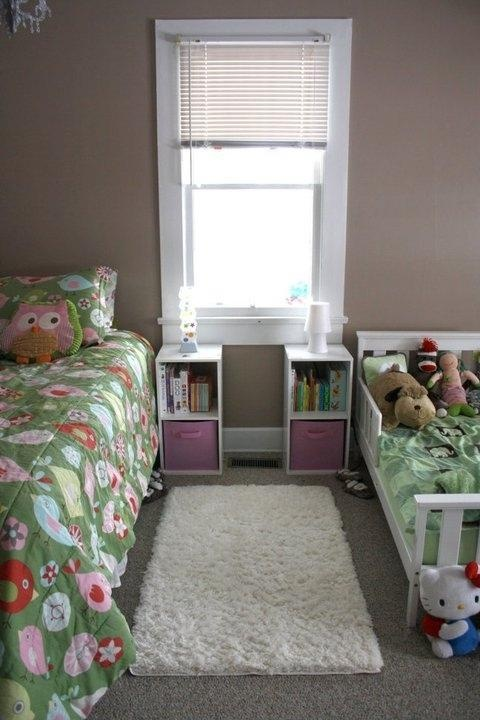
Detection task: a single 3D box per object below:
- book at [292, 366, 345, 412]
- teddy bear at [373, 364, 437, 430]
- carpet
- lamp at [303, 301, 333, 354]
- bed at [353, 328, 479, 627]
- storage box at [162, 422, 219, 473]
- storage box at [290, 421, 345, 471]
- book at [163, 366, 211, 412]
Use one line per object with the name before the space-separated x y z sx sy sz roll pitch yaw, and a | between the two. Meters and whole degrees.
book | 0.383 0.132 2.644 0.262 0.208 0.164 1 12 6
teddy bear | 0.713 0.138 2.413 0.189 0.123 0.280 -5 32 -10
carpet | 0.033 0.725 1.937 0.751 0.021 1.003 0 13 1
lamp | 0.381 -0.158 2.597 0.145 0.246 0.124 -4 12 -17
bed | 0.684 0.356 2.074 0.494 0.435 1.099 1 33 7
storage box | -0.232 0.414 2.644 0.265 0.292 0.229 -1 13 0
storage box | 0.369 0.420 2.618 0.225 0.252 0.240 0 4 0
book | -0.262 0.164 2.661 0.185 0.281 0.266 0 18 1
